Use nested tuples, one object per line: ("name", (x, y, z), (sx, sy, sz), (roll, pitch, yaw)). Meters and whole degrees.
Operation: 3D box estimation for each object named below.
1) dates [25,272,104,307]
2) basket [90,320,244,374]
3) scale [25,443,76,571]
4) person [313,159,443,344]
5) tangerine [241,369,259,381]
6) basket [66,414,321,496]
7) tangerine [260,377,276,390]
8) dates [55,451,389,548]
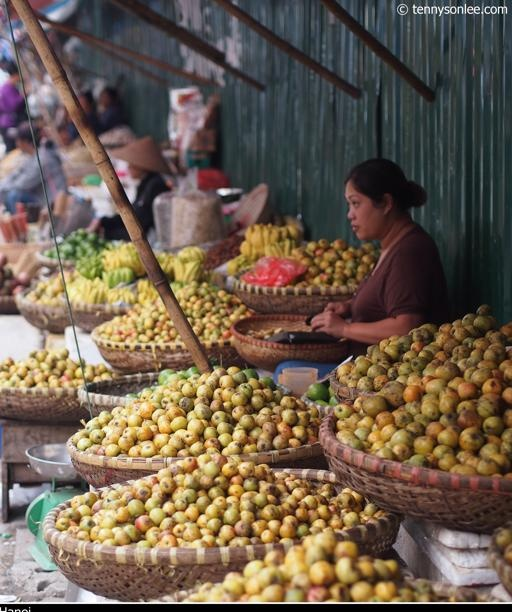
("dates", (-1.561, -0.130, 5.386), (0.725, 0.222, 0.675), (-9, 10, -28))
("basket", (-0.422, 0.235, 3.963), (0.839, 0.197, 0.889), (2, 6, 41))
("scale", (-0.965, 0.985, 3.232), (0.336, 0.462, 0.355), (9, -22, -36))
("person", (0.626, -0.258, 3.111), (0.583, 0.827, 0.597), (6, 14, 43))
("tangerine", (-0.015, 0.284, 2.716), (0.061, 0.060, 0.057), (-28, 39, -33))
("basket", (-0.207, 0.491, 2.448), (0.811, 0.172, 0.632), (-4, 5, -2))
("tangerine", (0.059, 0.317, 2.664), (0.044, 0.048, 0.072), (0, -8, 33))
("dates", (-0.151, 0.519, 1.979), (0.753, 0.205, 0.710), (-6, 4, -27))
